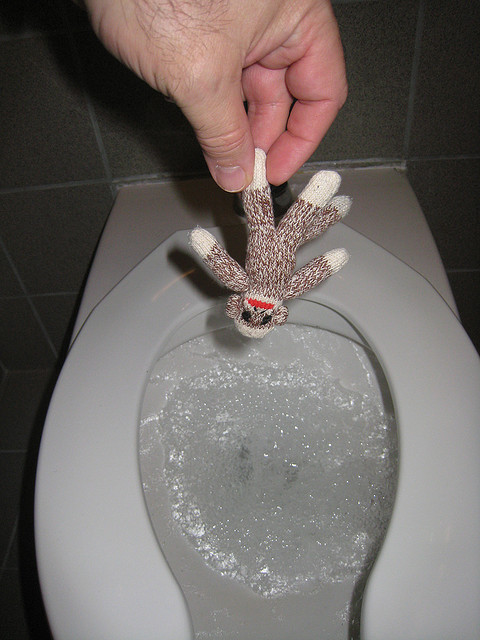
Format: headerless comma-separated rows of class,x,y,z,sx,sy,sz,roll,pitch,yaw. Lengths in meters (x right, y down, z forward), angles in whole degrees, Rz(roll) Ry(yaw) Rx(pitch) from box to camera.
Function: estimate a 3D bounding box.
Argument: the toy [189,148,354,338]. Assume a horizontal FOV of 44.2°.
toy,0.037,-0.040,0.522,0.106,0.029,0.129,-30,56,-8
